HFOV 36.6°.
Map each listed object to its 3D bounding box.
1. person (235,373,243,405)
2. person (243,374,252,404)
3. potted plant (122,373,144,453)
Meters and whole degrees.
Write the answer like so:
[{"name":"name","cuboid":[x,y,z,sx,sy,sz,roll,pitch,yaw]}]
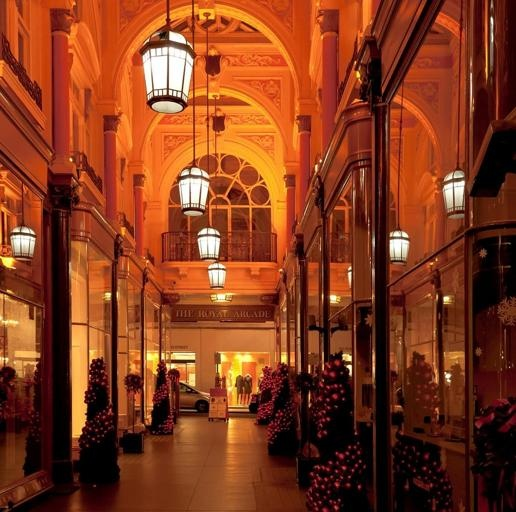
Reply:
[{"name":"person","cuboid":[-0.754,5.196,30.270,0.294,0.991,0.854,-1,-15,-2]},{"name":"person","cuboid":[-0.424,5.188,30.213,0.338,1.004,0.793,-1,-14,-1]},{"name":"potted plant","cuboid":[-2.535,3.239,15.762,0.409,1.680,2.184,1,-16,-9]}]
